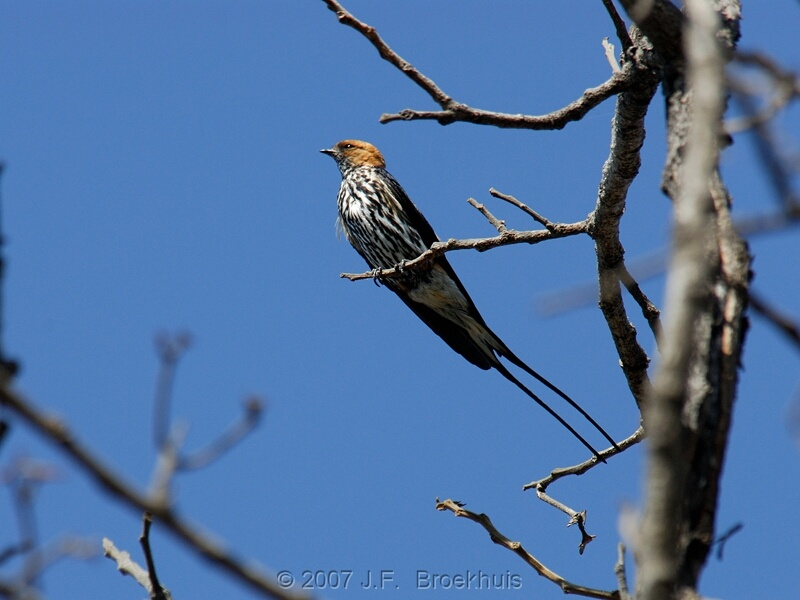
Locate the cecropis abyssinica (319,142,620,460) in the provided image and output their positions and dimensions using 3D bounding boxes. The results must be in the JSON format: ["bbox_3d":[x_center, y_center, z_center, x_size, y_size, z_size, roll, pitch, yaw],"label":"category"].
[{"bbox_3d":[0.279,-0.132,6.965,1.580,0.686,0.353,32,-43,1],"label":"cecropis abyssinica"}]
